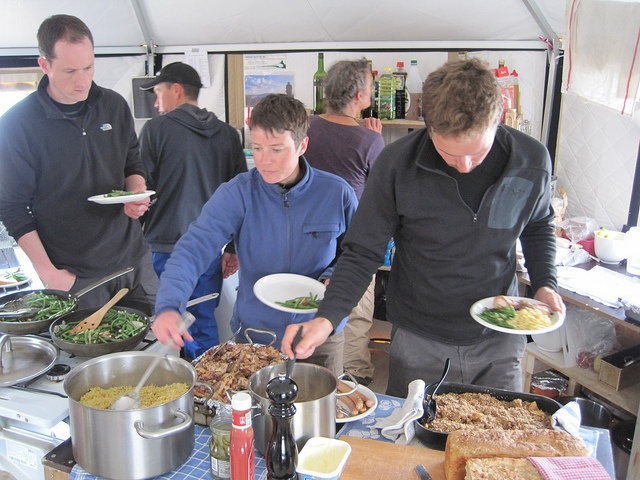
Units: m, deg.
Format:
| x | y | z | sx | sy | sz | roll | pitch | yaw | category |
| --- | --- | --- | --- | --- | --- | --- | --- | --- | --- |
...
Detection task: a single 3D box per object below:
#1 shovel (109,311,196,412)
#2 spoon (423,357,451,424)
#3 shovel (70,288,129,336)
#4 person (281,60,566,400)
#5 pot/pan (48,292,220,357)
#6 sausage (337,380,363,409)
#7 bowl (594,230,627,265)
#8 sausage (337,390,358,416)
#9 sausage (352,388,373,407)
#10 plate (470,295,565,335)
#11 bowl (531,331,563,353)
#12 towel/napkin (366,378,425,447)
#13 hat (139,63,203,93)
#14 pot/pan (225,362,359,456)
| x | y | z | sx | sy | sz | roll | pitch | yaw | category |
| --- | --- | --- | --- | --- | --- | --- | --- | --- | --- |
| -0.587 | 0.453 | 2.019 | 0.130 | 0.094 | 0.630 | 39 | 35 | -5 | shovel |
| 0.487 | 0.577 | 2.072 | 0.075 | 0.054 | 0.347 | 33 | 46 | -7 | spoon |
| -1.040 | 0.310 | 2.514 | 0.084 | 0.063 | 0.479 | 41 | 32 | 5 | shovel |
| 0.557 | 0.180 | 2.385 | 1.291 | 1.366 | 0.545 | -6 | 20 | -11 | person |
| -0.952 | 0.416 | 2.460 | 0.347 | 0.092 | 0.638 | 15 | 20 | 40 | pot/pan |
| 0.112 | 0.630 | 2.050 | 0.058 | 0.024 | 0.110 | -15 | 32 | -17 | sausage |
| 2.001 | 0.057 | 3.471 | 0.212 | 0.179 | 0.235 | 4 | -1 | -38 | bowl |
| 0.088 | 0.650 | 1.995 | 0.038 | 0.028 | 0.129 | -33 | 26 | -32 | sausage |
| 0.179 | 0.645 | 2.071 | 0.071 | 0.022 | 0.072 | -6 | 26 | -34 | sausage |
| 0.875 | 0.320 | 2.238 | 0.422 | 0.066 | 0.306 | -7 | 20 | -15 | plate |
| 1.576 | 0.705 | 3.542 | 0.209 | 0.158 | 0.211 | 0 | 4 | 0 | bowl |
| 0.292 | 0.644 | 1.919 | 0.179 | 0.084 | 0.232 | -9 | 25 | 39 | towel/napkin |
| -1.154 | -1.289 | 3.953 | 0.339 | 0.171 | 0.219 | 6 | 19 | -2 | hat |
| -0.092 | 0.542 | 1.842 | 0.353 | 0.251 | 0.329 | 0 | 1 | -3 | pot/pan |
